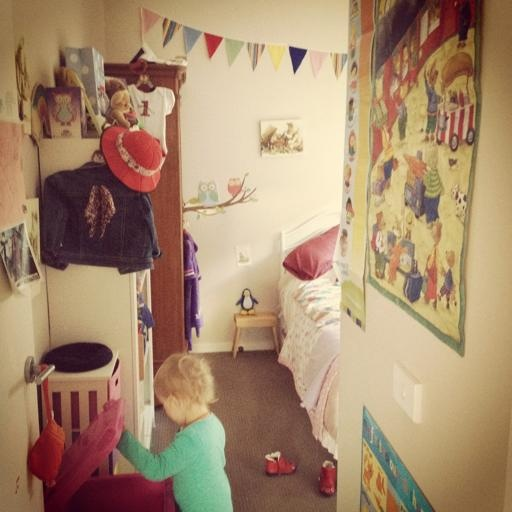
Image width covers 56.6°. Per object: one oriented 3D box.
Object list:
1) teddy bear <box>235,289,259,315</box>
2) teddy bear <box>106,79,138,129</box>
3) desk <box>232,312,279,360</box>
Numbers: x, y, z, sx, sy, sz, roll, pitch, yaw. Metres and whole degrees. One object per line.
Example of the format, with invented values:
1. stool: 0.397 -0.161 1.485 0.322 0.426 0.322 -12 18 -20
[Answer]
1. teddy bear: -0.073 0.382 3.944 0.218 0.296 0.148 1 -10 -11
2. teddy bear: -0.647 -0.740 2.280 0.143 0.297 0.533 -3 9 -17
3. desk: 0.023 0.672 3.969 0.357 0.436 0.282 -1 8 4
